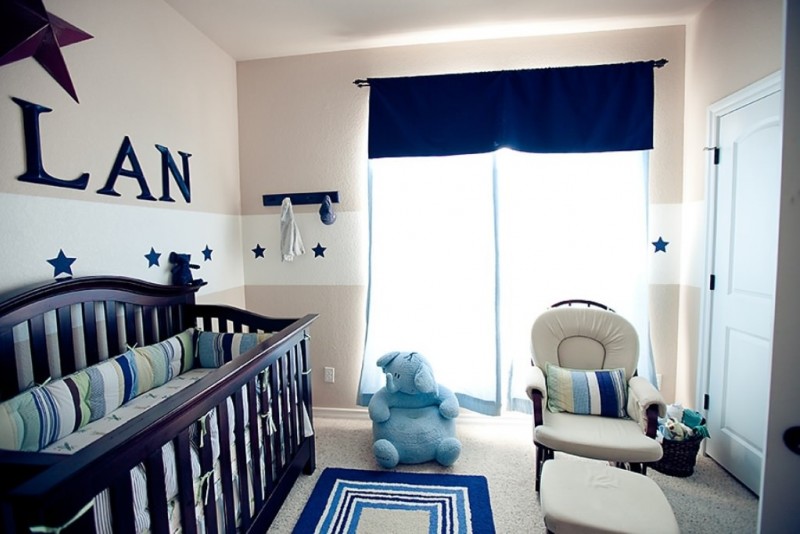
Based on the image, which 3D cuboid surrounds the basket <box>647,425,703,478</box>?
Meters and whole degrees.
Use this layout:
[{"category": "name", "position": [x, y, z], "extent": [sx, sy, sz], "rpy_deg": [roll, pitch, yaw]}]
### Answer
[{"category": "basket", "position": [1.867, 1.253, 3.670], "extent": [0.331, 0.259, 0.295], "rpy_deg": [-2, 2, -36]}]

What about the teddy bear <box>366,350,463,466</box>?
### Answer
[{"category": "teddy bear", "position": [0.114, 1.010, 3.911], "extent": [0.621, 0.803, 0.548], "rpy_deg": [-3, 8, -1]}]

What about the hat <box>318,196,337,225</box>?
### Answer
[{"category": "hat", "position": [-0.565, -0.453, 4.245], "extent": [0.139, 0.203, 0.045], "rpy_deg": [10, -2, -22]}]

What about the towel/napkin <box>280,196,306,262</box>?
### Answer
[{"category": "towel/napkin", "position": [-0.857, -0.298, 4.293], "extent": [0.191, 0.511, 0.260], "rpy_deg": [-1, 5, -14]}]

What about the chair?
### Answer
[{"category": "chair", "position": [1.290, 0.926, 3.652], "extent": [0.846, 1.201, 1.206], "rpy_deg": [2, 2, 20]}]
